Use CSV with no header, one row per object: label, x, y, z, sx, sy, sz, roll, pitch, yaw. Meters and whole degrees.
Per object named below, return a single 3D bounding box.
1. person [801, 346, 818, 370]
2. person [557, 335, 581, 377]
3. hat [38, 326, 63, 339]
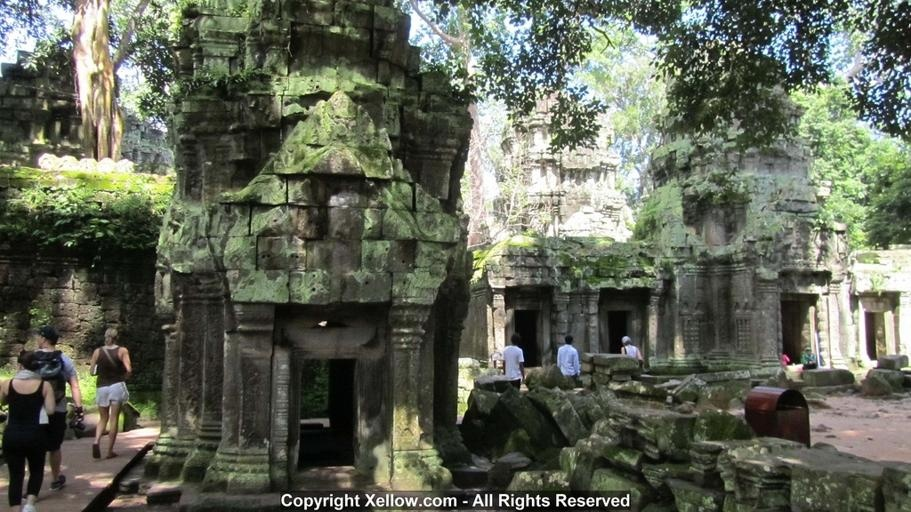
person,11.398,3.177,24.576,0.448,0.672,1.677,-2,-7,25
person,2.983,2.627,20.254,0.564,1.096,1.404,0,-6,7
hat,-8.148,1.513,15.264,0.421,0.216,0.282,20,11,14
